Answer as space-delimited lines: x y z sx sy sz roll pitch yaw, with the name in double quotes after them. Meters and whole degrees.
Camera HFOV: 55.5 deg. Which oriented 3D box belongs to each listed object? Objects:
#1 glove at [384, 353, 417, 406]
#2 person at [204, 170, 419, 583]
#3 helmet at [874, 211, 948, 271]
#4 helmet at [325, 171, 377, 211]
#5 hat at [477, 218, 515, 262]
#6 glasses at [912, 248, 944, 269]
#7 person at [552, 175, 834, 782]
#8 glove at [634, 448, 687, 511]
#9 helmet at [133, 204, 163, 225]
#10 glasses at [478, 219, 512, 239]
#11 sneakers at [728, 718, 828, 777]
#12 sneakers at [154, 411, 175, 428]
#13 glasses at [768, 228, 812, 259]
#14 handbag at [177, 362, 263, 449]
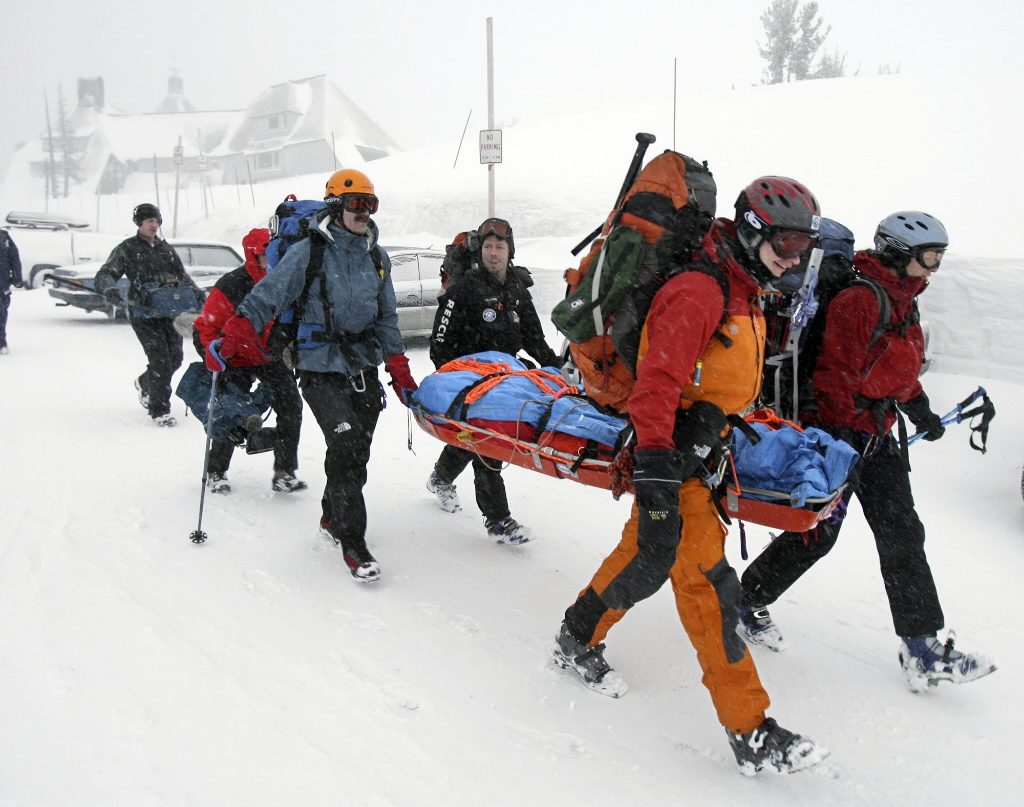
-0.717 -0.161 6.247 0.182 0.336 0.128 -19 -7 -30 "glove"
-1.111 -0.198 5.888 1.054 2.368 0.575 0 11 -9 "person"
2.193 -0.909 5.355 0.375 0.345 0.300 -1 11 23 "helmet"
-0.968 -1.278 5.863 0.291 0.262 0.342 0 11 -11 "helmet"
-0.105 -1.095 6.487 0.237 0.247 0.265 1 -1 1 "hat"
2.282 -0.799 5.359 0.095 0.085 0.126 -2 4 -13 "glasses"
0.884 0.318 4.638 1.185 2.763 0.728 4 11 9 "person"
0.666 0.347 4.540 0.249 0.271 0.246 -2 5 -2 "glove"
-3.490 -1.805 9.268 0.238 0.243 0.214 -3 24 -9 "helmet"
-0.131 -1.172 6.413 0.139 0.101 0.171 0 -1 -43 "glasses"
1.229 1.576 4.590 0.526 0.268 0.198 -9 17 30 "sneakers"
-3.227 0.148 9.026 0.203 0.097 0.235 -2 12 -21 "sneakers"
1.281 -0.734 4.480 0.202 0.131 0.048 0 11 -11 "glasses"
-2.102 -0.015 7.034 0.597 0.262 0.605 37 22 29 "handbag"
